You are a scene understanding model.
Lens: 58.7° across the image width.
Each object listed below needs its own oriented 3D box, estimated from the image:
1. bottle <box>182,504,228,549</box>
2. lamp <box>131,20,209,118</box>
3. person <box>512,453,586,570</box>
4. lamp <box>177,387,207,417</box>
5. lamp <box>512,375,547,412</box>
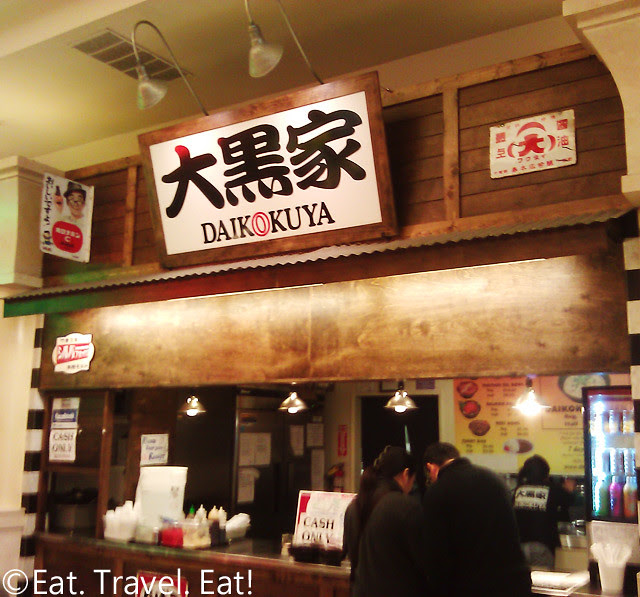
[{"bbox_3d":[-0.955,1.834,4.665,0.301,0.294,0.302,0,0,-6],"label":"bottle"},{"bbox_3d":[-1.084,-1.548,3.866,0.438,0.724,0.227,-28,13,-37],"label":"lamp"},{"bbox_3d":[2.360,2.312,6.163,0.557,1.329,0.415,2,12,26],"label":"person"},{"bbox_3d":[-1.328,1.097,5.902,0.254,0.279,0.257,2,0,-6],"label":"lamp"},{"bbox_3d":[2.101,0.971,5.724,0.339,0.428,1.460,-7,-13,20],"label":"lamp"}]
